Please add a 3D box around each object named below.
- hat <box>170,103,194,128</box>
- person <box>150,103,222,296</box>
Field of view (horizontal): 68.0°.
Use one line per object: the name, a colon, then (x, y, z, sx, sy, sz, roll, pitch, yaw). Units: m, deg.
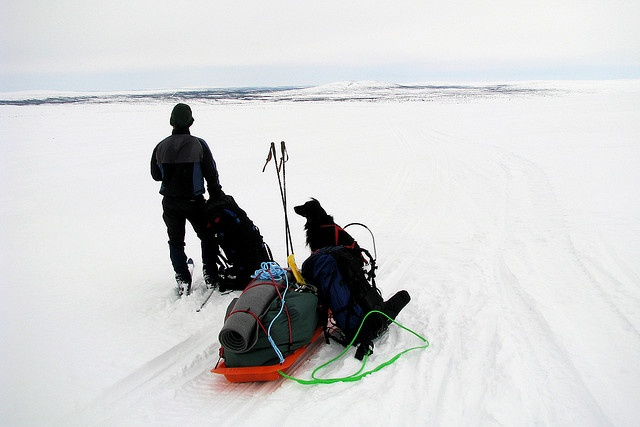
hat: (-2.313, -1.697, 8.067, 0.337, 0.354, 0.443, 3, 26, -2)
person: (-2.223, -0.011, 8.194, 0.973, 2.672, 0.518, -13, 18, -25)
